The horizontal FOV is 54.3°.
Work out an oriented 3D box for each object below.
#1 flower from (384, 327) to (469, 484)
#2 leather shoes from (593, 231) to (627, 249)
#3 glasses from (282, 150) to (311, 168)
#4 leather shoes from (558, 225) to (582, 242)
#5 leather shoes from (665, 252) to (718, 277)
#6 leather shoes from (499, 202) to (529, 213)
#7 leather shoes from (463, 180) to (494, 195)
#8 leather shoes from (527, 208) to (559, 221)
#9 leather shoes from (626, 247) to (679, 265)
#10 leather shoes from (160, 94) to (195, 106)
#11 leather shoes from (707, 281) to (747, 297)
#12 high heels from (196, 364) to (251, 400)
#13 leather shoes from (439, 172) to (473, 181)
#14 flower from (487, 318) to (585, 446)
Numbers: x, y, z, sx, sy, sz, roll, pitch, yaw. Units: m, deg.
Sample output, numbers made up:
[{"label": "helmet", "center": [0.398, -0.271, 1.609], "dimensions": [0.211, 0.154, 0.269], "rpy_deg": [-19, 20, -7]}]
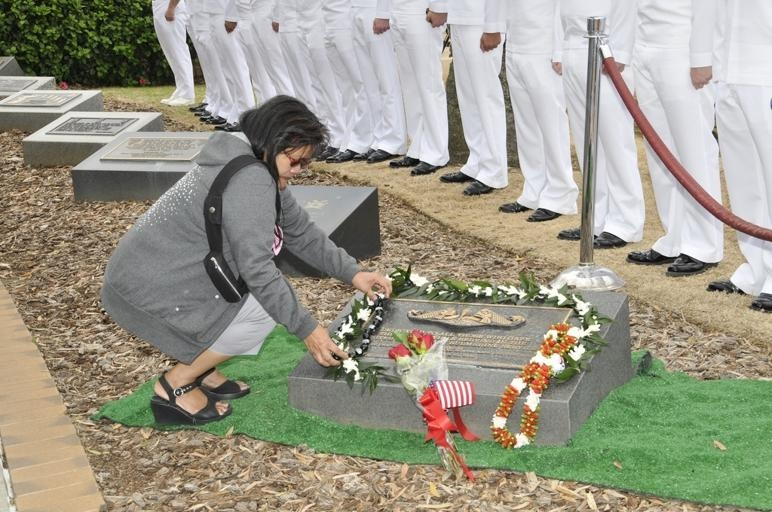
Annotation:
[{"label": "flower", "center": [0.247, 0.706, 3.692], "dimensions": [0.359, 0.603, 0.567], "rpy_deg": [-8, 23, -6]}, {"label": "leather shoes", "center": [1.794, -0.132, 6.001], "dimensions": [0.232, 0.063, 0.121], "rpy_deg": [-2, 23, -13]}, {"label": "glasses", "center": [-0.421, -0.472, 3.679], "dimensions": [0.099, 0.030, 0.089], "rpy_deg": [3, 48, -24]}, {"label": "leather shoes", "center": [1.512, -0.182, 6.153], "dimensions": [0.202, 0.070, 0.088], "rpy_deg": [4, 5, 9]}, {"label": "leather shoes", "center": [2.195, 0.058, 5.430], "dimensions": [0.382, 0.132, 0.156], "rpy_deg": [3, -7, -16]}, {"label": "leather shoes", "center": [1.172, -0.443, 6.828], "dimensions": [0.246, 0.086, 0.109], "rpy_deg": [4, 6, -4]}, {"label": "leather shoes", "center": [0.904, -0.660, 7.279], "dimensions": [0.261, 0.075, 0.125], "rpy_deg": [-6, 51, -1]}, {"label": "leather shoes", "center": [1.377, -0.364, 6.598], "dimensions": [0.120, 0.064, 0.257], "rpy_deg": [3, -1, 44]}, {"label": "leather shoes", "center": [2.001, -0.005, 5.664], "dimensions": [0.355, 0.123, 0.133], "rpy_deg": [4, 2, 4]}, {"label": "leather shoes", "center": [-3.218, -2.429, 11.735], "dimensions": [0.347, 0.101, 0.248], "rpy_deg": [1, 1, -22]}, {"label": "leather shoes", "center": [2.331, 0.214, 5.156], "dimensions": [0.231, 0.083, 0.092], "rpy_deg": [14, -6, 13]}, {"label": "high heels", "center": [-0.895, 0.712, 4.219], "dimensions": [0.359, 0.092, 0.133], "rpy_deg": [8, 27, 13]}, {"label": "leather shoes", "center": [0.723, -0.805, 7.591], "dimensions": [0.313, 0.102, 0.114], "rpy_deg": [5, 11, 0]}, {"label": "flower", "center": [0.754, 0.612, 3.743], "dimensions": [0.274, 0.196, 0.804], "rpy_deg": [20, 60, 40]}]
